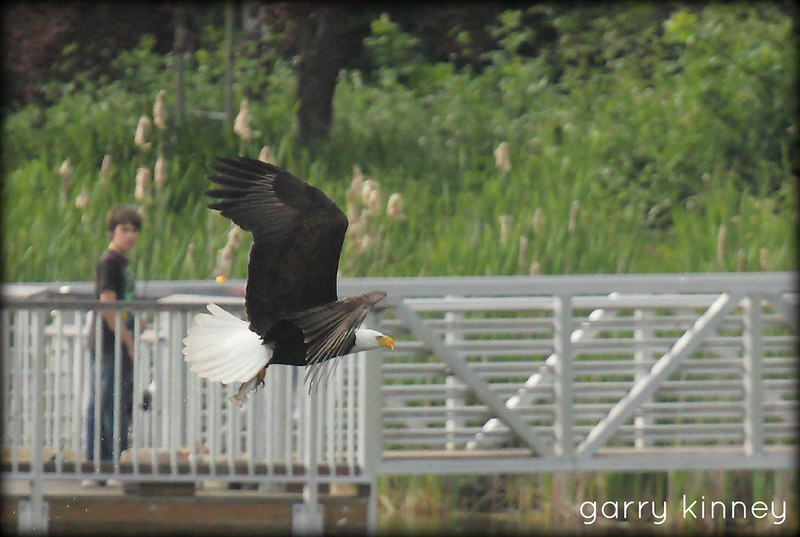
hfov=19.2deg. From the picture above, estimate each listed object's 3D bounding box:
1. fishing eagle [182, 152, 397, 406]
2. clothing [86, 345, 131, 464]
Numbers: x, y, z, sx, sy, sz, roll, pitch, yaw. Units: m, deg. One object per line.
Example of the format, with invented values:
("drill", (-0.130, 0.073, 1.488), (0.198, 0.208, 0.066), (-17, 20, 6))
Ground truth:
("fishing eagle", (-1.080, 0.198, 22.215), (1.788, 2.470, 1.085), (4, 12, 9))
("clothing", (-2.763, 1.306, 22.833), (0.509, 1.013, 0.429), (-3, 13, -19))
